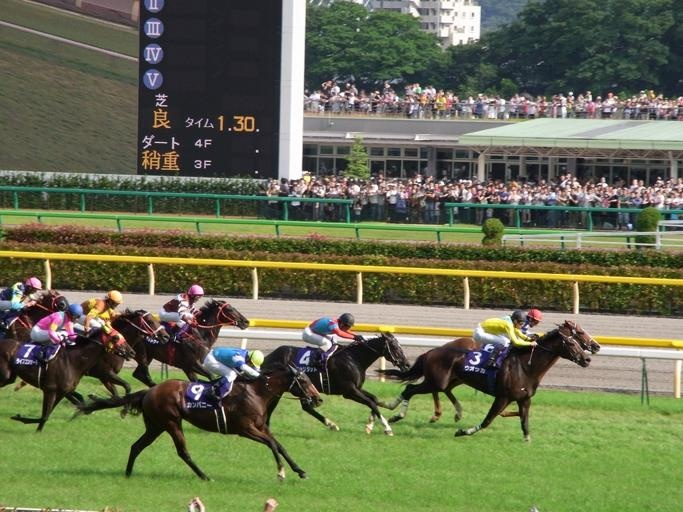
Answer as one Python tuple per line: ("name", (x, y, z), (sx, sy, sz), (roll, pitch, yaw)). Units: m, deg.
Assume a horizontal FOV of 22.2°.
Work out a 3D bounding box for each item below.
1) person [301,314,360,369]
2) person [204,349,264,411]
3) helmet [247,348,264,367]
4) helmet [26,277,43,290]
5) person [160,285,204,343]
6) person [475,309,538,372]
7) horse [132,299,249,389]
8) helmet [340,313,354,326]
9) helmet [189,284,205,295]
("person", (-0.158, 1.334, 28.055), (1.102, 0.761, 0.534), (13, 8, 8))
("person", (-1.708, 1.829, 27.121), (1.110, 0.774, 0.517), (12, 8, 26))
("helmet", (-1.358, 1.595, 27.042), (0.214, 0.255, 0.145), (-3, -15, -39))
("helmet", (-5.123, 0.475, 28.615), (0.309, 0.131, 0.198), (11, 14, 9))
("person", (-2.636, 1.006, 28.524), (0.717, 0.999, 0.491), (21, 5, 15))
("person", (2.640, 1.326, 28.019), (1.055, 0.901, 0.440), (19, 14, 6))
("horse", (-2.709, 1.517, 28.685), (2.752, 1.411, 0.600), (-7, -9, 29))
("helmet", (0.066, 1.042, 27.963), (0.216, 0.184, 0.180), (0, 3, -1))
("helmet", (-2.372, 0.588, 28.525), (0.235, 0.163, 0.177), (-17, 23, -32))
